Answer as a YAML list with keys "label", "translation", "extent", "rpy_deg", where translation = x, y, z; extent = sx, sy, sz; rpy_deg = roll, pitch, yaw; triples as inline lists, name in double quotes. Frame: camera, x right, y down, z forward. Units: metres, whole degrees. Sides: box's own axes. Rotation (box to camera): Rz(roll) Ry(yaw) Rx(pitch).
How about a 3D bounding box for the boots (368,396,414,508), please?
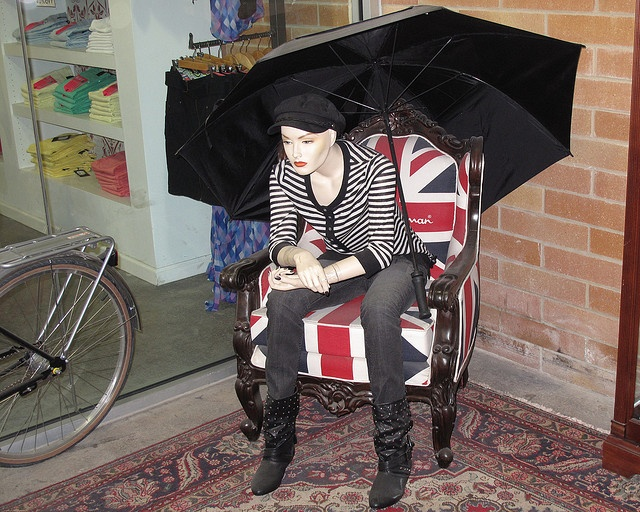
- label: "boots"
  translation: [0.269, 0.739, 2.102]
  extent: [0.154, 0.359, 0.222]
  rpy_deg: [3, 21, 9]

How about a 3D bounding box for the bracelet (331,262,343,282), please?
- label: "bracelet"
  translation: [0.060, 0.066, 2.154]
  extent: [0.025, 0.060, 0.049]
  rpy_deg: [-2, 21, -3]

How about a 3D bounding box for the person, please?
- label: "person"
  translation: [0.067, 0.158, 2.190]
  extent: [0.691, 1.491, 0.727]
  rpy_deg: [3, 22, 11]

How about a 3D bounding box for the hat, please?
- label: "hat"
  translation: [-0.036, -0.510, 2.123]
  extent: [0.173, 0.109, 0.230]
  rpy_deg: [0, -3, 42]
